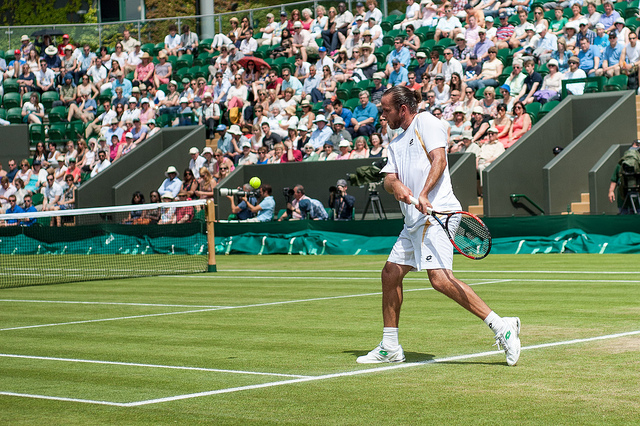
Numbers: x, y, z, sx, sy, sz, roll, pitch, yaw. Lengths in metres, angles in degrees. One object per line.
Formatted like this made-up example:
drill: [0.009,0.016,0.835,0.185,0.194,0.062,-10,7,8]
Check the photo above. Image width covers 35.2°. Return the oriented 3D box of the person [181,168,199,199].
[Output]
person: [-3.466,-0.792,26.887,0.390,0.751,0.784,-2,2,-21]

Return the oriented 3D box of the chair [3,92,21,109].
chair: [-10.273,-3.734,33.597,0.502,0.483,0.531,5,39,-1]

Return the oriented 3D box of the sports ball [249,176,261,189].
sports ball: [-1.640,-0.749,25.244,0.232,0.282,0.426,-2,2,-8]

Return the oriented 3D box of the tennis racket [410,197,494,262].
tennis racket: [1.843,0.267,12.758,1.482,0.542,0.104,32,-28,-21]

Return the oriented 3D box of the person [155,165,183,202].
person: [-4.046,-0.777,26.927,0.707,0.875,1.270,-2,2,-8]

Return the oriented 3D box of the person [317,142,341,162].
person: [0.238,-1.545,25.280,0.407,0.490,0.912,-2,2,-26]

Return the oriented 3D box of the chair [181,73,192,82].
chair: [-4.219,-4.277,31.762,0.317,0.241,0.320,-2,5,-17]

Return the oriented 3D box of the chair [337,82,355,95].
chair: [0.722,-3.424,27.799,0.531,0.366,0.269,0,2,40]

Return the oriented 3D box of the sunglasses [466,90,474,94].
sunglasses: [3.615,-2.909,24.461,0.096,0.057,0.247,-2,2,-28]

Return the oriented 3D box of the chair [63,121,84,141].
chair: [-7.629,-2.530,31.011,0.492,0.632,0.606,2,7,-11]

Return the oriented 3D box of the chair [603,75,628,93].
chair: [7.173,-3.039,24.337,0.453,0.516,0.436,4,-2,-41]

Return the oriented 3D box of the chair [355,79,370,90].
chair: [1.167,-3.524,27.542,0.320,0.407,0.353,0,-2,22]

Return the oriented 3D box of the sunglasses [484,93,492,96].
sunglasses: [4.031,-2.837,24.110,0.073,0.062,0.208,-3,2,-34]

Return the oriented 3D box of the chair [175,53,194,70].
chair: [-4.515,-5.070,33.668,0.536,0.544,0.512,-1,0,16]

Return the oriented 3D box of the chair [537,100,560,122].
chair: [5.559,-2.516,24.569,0.391,0.470,0.475,-1,4,-1]

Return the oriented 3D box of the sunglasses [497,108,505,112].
sunglasses: [4.268,-2.424,23.827,0.182,0.083,0.097,0,2,39]
